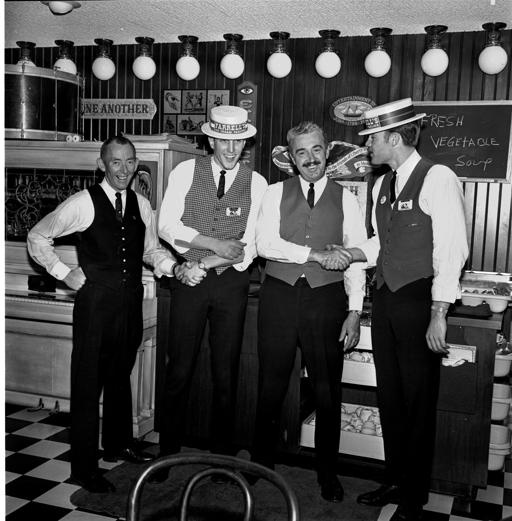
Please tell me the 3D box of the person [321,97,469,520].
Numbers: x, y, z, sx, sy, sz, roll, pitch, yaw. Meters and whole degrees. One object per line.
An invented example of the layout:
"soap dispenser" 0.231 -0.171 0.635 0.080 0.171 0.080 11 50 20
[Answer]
"person" 0.695 0.247 2.806 0.565 1.990 0.361 5 5 25

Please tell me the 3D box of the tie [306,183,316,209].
"tie" 0.266 -0.317 2.861 0.038 0.121 0.032 3 4 3

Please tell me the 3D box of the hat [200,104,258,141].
"hat" -0.143 -0.709 2.966 0.283 0.104 0.324 -15 32 -30

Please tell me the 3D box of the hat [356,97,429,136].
"hat" 0.632 -0.689 2.803 0.340 0.115 0.363 -10 13 28

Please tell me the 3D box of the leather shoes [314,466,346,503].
"leather shoes" 0.369 1.126 2.934 0.078 0.108 0.208 0 -2 -12

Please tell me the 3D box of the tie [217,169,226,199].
"tie" -0.179 -0.386 2.984 0.048 0.147 0.040 2 5 -19

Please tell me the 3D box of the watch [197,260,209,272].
"watch" -0.265 0.027 2.886 0.042 0.030 0.055 37 -3 4
